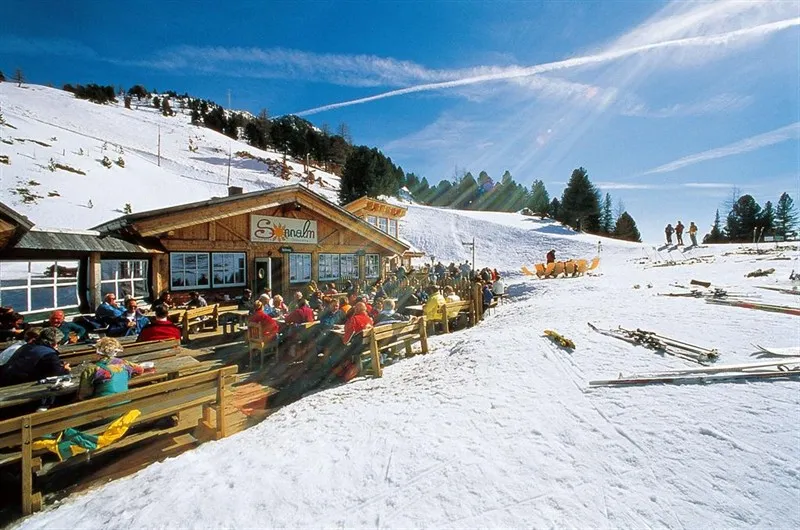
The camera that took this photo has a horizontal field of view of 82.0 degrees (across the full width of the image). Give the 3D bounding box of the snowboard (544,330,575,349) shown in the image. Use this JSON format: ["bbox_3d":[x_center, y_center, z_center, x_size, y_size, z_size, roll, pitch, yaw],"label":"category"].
[{"bbox_3d":[4.634,2.187,13.368,0.445,0.421,1.004,0,-1,-31],"label":"snowboard"}]
